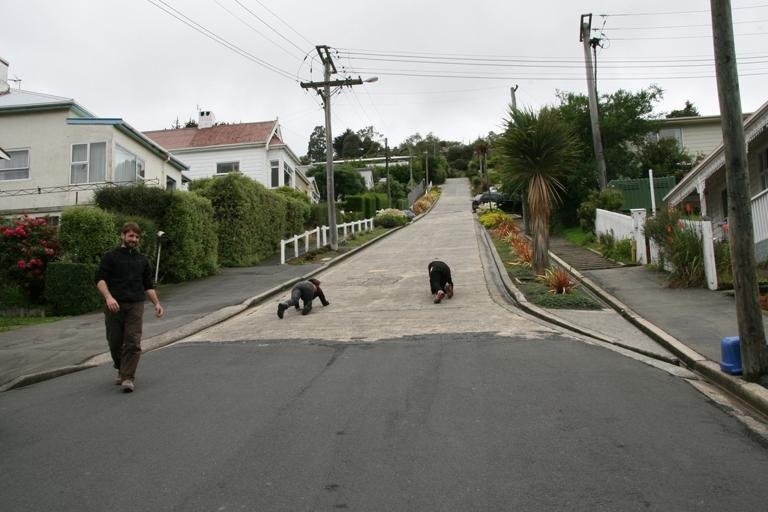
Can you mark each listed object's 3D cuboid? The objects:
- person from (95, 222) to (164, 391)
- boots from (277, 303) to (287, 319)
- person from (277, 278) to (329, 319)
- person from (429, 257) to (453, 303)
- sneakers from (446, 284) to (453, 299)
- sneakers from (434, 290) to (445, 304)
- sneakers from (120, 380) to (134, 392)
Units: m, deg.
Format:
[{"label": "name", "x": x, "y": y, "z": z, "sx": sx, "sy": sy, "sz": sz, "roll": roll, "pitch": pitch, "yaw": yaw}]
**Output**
[{"label": "person", "x": -4.092, "y": 0.767, "z": 9.212, "sx": 0.706, "sy": 2.550, "sz": 0.847, "roll": 1, "pitch": 7, "yaw": 21}, {"label": "boots", "x": -2.436, "y": 1.360, "z": 13.833, "sx": 0.222, "sy": 0.174, "sz": 0.525, "roll": -20, "pitch": -22, "yaw": -16}, {"label": "person", "x": -2.044, "y": 1.039, "z": 14.290, "sx": 0.644, "sy": 0.563, "sz": 1.435, "roll": 0, "pitch": 7, "yaw": 10}, {"label": "person", "x": 1.537, "y": 0.698, "z": 15.477, "sx": 0.406, "sy": 0.543, "sz": 1.331, "roll": -4, "pitch": 23, "yaw": 1}, {"label": "sneakers", "x": 1.772, "y": 0.974, "z": 15.641, "sx": 0.130, "sy": 0.422, "sz": 0.191, "roll": -2, "pitch": 46, "yaw": 3}, {"label": "sneakers", "x": 1.444, "y": 1.140, "z": 15.132, "sx": 0.158, "sy": 0.213, "sz": 0.457, "roll": 3, "pitch": -23, "yaw": 0}, {"label": "sneakers", "x": -3.973, "y": 2.008, "z": 8.963, "sx": 0.184, "sy": 0.153, "sz": 0.282, "roll": -5, "pitch": 9, "yaw": -25}]
